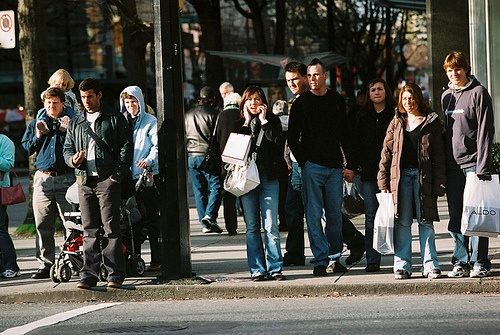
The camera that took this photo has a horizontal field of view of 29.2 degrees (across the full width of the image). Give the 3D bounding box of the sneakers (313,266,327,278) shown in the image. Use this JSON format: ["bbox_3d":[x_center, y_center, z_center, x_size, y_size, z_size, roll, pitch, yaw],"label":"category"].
[{"bbox_3d":[1.190,1.762,16.149,0.224,0.170,0.125,-3,1,1],"label":"sneakers"}]

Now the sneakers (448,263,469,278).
[{"bbox_3d":[3.445,1.715,15.764,0.409,0.188,0.148,0,-1,-14],"label":"sneakers"}]

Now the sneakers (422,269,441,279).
[{"bbox_3d":[2.998,1.761,15.735,0.125,0.131,0.279,2,-11,-31],"label":"sneakers"}]

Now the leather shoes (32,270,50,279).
[{"bbox_3d":[-3.639,1.906,16.796,0.328,0.144,0.118,4,0,-9],"label":"leather shoes"}]

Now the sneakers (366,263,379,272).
[{"bbox_3d":[2.091,1.733,16.327,0.211,0.148,0.112,5,-5,-4],"label":"sneakers"}]

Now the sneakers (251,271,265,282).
[{"bbox_3d":[0.160,1.854,15.994,0.224,0.122,0.105,-3,1,4],"label":"sneakers"}]

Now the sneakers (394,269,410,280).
[{"bbox_3d":[2.520,1.774,15.771,0.259,0.143,0.187,-3,2,8],"label":"sneakers"}]

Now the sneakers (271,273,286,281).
[{"bbox_3d":[0.483,1.851,15.995,0.102,0.106,0.237,1,5,11],"label":"sneakers"}]

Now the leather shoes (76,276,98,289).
[{"bbox_3d":[-2.685,1.944,15.914,0.377,0.162,0.138,7,-5,-16],"label":"leather shoes"}]

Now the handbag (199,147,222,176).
[{"bbox_3d":[-0.767,-0.072,19.476,0.328,0.491,0.517,12,-8,-4],"label":"handbag"}]

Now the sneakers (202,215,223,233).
[{"bbox_3d":[-0.754,1.242,19.922,0.227,0.251,0.582,-28,-51,30],"label":"sneakers"}]

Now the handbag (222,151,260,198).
[{"bbox_3d":[-0.107,0.119,15.923,0.373,0.627,0.630,25,-11,-36],"label":"handbag"}]

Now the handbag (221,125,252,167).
[{"bbox_3d":[-0.194,-0.318,15.973,0.499,0.748,0.245,16,-16,16],"label":"handbag"}]

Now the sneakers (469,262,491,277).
[{"bbox_3d":[3.763,1.692,15.592,0.354,0.188,0.242,-3,2,2],"label":"sneakers"}]
